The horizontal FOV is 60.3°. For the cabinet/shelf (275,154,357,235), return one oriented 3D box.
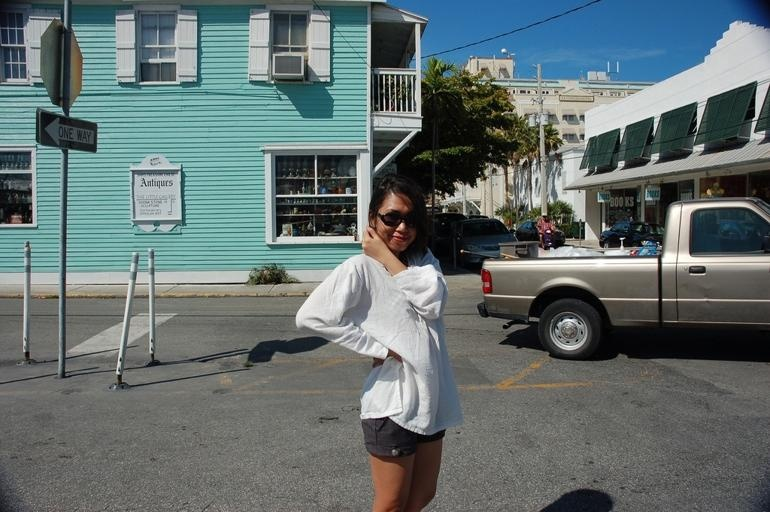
[{"bbox_3d":[-2.041,-1.857,19.021,2.340,2.143,0.781,0,0,-2],"label":"cabinet/shelf"}]

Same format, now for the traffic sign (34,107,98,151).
[{"bbox_3d":[-4.849,-1.865,10.113,0.269,0.513,1.237,0,2,13],"label":"traffic sign"}]
